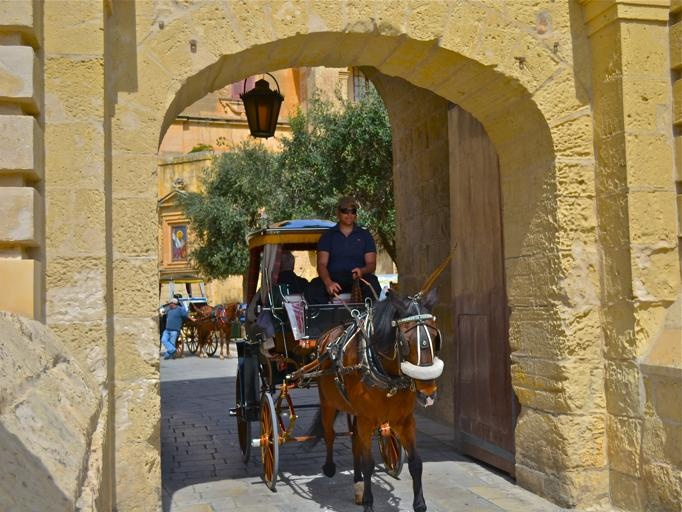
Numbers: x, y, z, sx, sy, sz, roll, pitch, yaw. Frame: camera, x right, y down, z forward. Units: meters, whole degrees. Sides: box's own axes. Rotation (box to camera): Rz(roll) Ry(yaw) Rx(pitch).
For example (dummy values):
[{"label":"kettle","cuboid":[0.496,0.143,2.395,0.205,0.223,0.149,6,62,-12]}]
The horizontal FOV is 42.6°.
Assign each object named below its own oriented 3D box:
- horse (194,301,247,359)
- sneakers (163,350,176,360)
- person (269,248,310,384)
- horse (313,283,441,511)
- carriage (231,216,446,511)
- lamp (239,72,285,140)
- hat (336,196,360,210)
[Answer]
[{"label":"horse","cuboid":[-3.122,1.865,22.143,0.557,1.428,2.006,8,-6,-44]},{"label":"sneakers","cuboid":[-4.295,2.493,21.981,0.272,0.305,0.393,3,-17,-13]},{"label":"person","cuboid":[-0.575,0.548,9.139,0.562,1.170,0.711,2,-10,-7]},{"label":"horse","cuboid":[0.302,1.235,7.278,0.724,1.830,1.823,0,-3,-15]},{"label":"carriage","cuboid":[0.300,0.978,8.267,1.272,2.372,3.584,1,-8,-16]},{"label":"lamp","cuboid":[-0.916,-1.764,10.105,0.495,0.836,0.872,0,-3,-7]},{"label":"hat","cuboid":[0.054,-0.521,8.536,0.177,0.146,0.285,-1,-4,1]}]
